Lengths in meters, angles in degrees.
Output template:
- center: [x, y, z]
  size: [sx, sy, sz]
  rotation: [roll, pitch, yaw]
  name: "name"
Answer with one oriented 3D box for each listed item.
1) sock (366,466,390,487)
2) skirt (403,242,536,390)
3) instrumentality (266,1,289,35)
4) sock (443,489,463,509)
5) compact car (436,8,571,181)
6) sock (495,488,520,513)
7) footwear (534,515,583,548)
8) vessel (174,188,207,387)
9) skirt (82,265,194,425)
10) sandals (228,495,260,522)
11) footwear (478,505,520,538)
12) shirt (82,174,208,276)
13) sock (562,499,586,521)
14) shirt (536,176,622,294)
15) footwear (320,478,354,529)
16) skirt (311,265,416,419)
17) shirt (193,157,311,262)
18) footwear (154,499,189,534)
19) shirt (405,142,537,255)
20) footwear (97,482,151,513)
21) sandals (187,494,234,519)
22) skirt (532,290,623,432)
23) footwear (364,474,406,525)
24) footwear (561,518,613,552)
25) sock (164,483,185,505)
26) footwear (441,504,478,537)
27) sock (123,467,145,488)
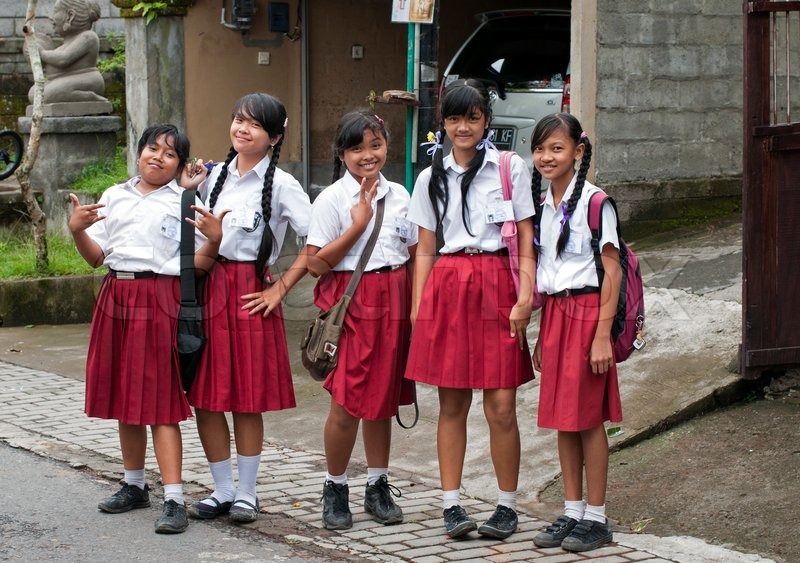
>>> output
- center: [-0.111, 1.087, 5.087]
  size: [0.084, 0.082, 0.103]
  rotation: [2, 5, -3]
  name: "sock"
- center: [0.424, 0.202, 4.977]
  size: [0.744, 0.730, 0.379]
  rotation: [2, -4, 0]
  name: "skirt"
- center: [-1.466, -3.212, 11.138]
  size: [0.287, 0.368, 0.091]
  rotation: [-13, 17, -43]
  name: "instrumentality"
- center: [0.280, 1.162, 4.884]
  size: [0.115, 0.146, 0.091]
  rotation: [-2, 0, 9]
  name: "sock"
- center: [1.283, -2.220, 10.309]
  size: [1.404, 1.347, 2.372]
  rotation: [5, 27, 21]
  name: "compact car"
- center: [0.577, 1.162, 4.869]
  size: [0.083, 0.116, 0.117]
  rotation: [-2, -19, 2]
  name: "sock"
- center: [0.833, 1.293, 4.775]
  size: [0.295, 0.114, 0.103]
  rotation: [-4, 5, -38]
  name: "footwear"
- center: [-1.151, 0.066, 4.972]
  size: [0.153, 1.083, 0.321]
  rotation: [-4, 13, -13]
  name: "vessel"
- center: [-1.444, 0.366, 4.958]
  size: [0.542, 0.778, 0.283]
  rotation: [-4, 13, -13]
  name: "skirt"
- center: [-0.853, 1.261, 5.014]
  size: [0.150, 0.124, 0.097]
  rotation: [-6, 13, -20]
  name: "sandals"
- center: [0.532, 1.271, 4.855]
  size: [0.106, 0.111, 0.265]
  rotation: [8, 3, 29]
  name: "footwear"
- center: [-1.402, -0.328, 5.085]
  size: [0.654, 0.534, 0.293]
  rotation: [7, 2, 7]
  name: "shirt"
- center: [0.908, 1.202, 4.822]
  size: [0.092, 0.101, 0.109]
  rotation: [2, -1, -38]
  name: "sock"
- center: [0.925, -0.220, 4.767]
  size: [0.327, 0.565, 0.595]
  rotation: [2, -5, -27]
  name: "shirt"
- center: [-0.344, 1.215, 5.070]
  size: [0.170, 0.204, 0.445]
  rotation: [2, 9, -10]
  name: "footwear"
- center: [-0.186, 0.308, 4.941]
  size: [0.638, 0.801, 0.451]
  rotation: [15, -7, -3]
  name: "skirt"
- center: [-0.868, -0.424, 5.128]
  size: [0.869, 0.637, 0.359]
  rotation: [11, 8, 28]
  name: "shirt"
- center: [-1.228, 1.254, 4.907]
  size: [0.178, 0.157, 0.177]
  rotation: [-5, 13, -15]
  name: "footwear"
- center: [0.395, -0.443, 4.962]
  size: [0.695, 0.560, 0.231]
  rotation: [-4, 5, 10]
  name: "shirt"
- center: [-1.536, 1.222, 5.206]
  size: [0.331, 0.157, 0.118]
  rotation: [0, 5, -30]
  name: "footwear"
- center: [-1.055, 1.259, 5.103]
  size: [0.211, 0.081, 0.113]
  rotation: [2, 0, -38]
  name: "sandals"
- center: [0.891, 0.406, 4.750]
  size: [0.347, 0.688, 0.305]
  rotation: [3, 13, 19]
  name: "skirt"
- center: [-0.096, 1.222, 5.142]
  size: [0.137, 0.172, 0.343]
  rotation: [-2, 3, -22]
  name: "footwear"
- center: [0.968, 1.296, 4.713]
  size: [0.291, 0.113, 0.114]
  rotation: [-3, 2, -41]
  name: "footwear"
- center: [-1.208, 1.166, 4.972]
  size: [0.094, 0.124, 0.124]
  rotation: [-2, 51, -2]
  name: "sock"
- center: [0.313, 1.260, 4.790]
  size: [0.094, 0.091, 0.228]
  rotation: [-19, -3, -11]
  name: "footwear"
- center: [-1.506, 1.103, 5.158]
  size: [0.118, 0.112, 0.099]
  rotation: [-1, 3, 12]
  name: "sock"
